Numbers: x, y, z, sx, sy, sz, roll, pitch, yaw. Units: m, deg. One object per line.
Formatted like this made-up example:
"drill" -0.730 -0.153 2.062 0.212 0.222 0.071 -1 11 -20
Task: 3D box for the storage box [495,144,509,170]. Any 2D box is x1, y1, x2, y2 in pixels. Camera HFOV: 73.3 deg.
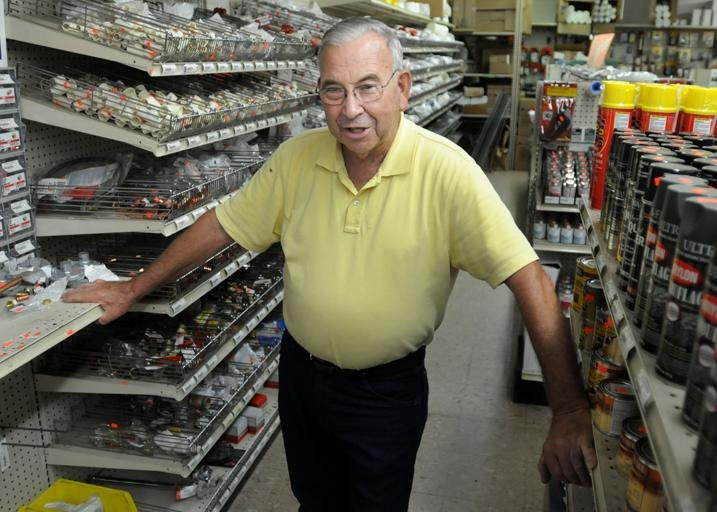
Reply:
"storage box" 3.073 -2.116 10.265 0.313 0.525 0.509 -1 12 -1

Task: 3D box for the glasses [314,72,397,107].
"glasses" -0.001 -0.538 1.540 0.254 0.100 0.117 1 20 5

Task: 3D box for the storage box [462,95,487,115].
"storage box" 2.639 -3.386 10.798 0.432 0.297 0.443 1 10 12

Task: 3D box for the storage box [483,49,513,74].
"storage box" 3.165 -4.303 10.815 0.540 0.370 0.561 2 14 12
